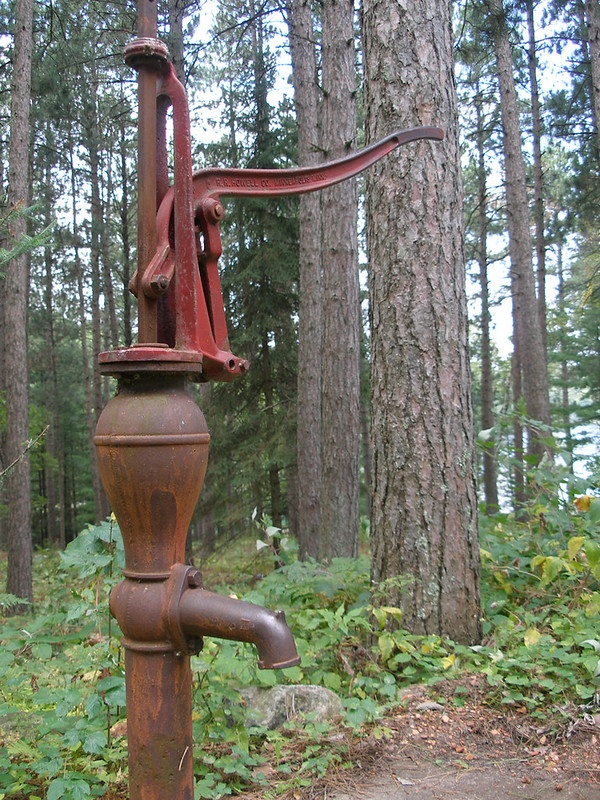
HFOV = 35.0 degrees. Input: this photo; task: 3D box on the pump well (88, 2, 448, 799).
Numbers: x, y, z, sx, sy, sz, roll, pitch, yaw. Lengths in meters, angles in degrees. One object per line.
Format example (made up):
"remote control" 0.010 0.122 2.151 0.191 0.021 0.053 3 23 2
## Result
"pump well" -0.279 -0.004 3.003 0.717 2.528 0.365 -3 -3 -2
